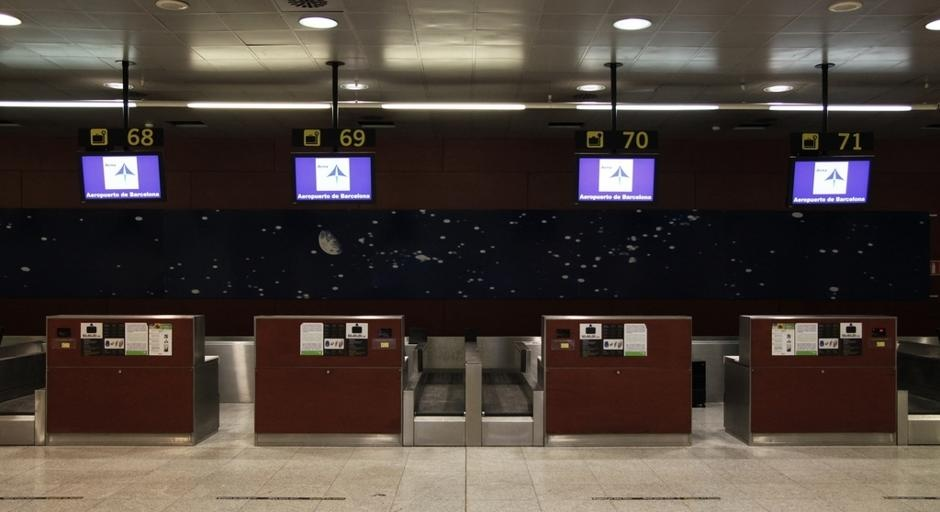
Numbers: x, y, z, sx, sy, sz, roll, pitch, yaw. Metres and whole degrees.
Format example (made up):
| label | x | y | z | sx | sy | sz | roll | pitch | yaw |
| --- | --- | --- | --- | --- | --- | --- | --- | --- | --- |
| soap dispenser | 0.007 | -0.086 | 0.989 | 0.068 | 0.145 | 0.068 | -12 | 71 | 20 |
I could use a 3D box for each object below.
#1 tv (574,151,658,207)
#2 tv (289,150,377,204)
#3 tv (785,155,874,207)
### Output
| label | x | y | z | sx | sy | sz | roll | pitch | yaw |
| --- | --- | --- | --- | --- | --- | --- | --- | --- | --- |
| tv | 2.194 | -1.163 | 10.748 | 0.030 | 0.758 | 1.496 | -9 | 11 | -41 |
| tv | -2.047 | -1.191 | 10.739 | 0.076 | 0.692 | 1.485 | 11 | 13 | 41 |
| tv | 5.414 | -1.143 | 10.815 | 1.483 | 0.690 | 0.134 | -3 | 10 | -18 |
